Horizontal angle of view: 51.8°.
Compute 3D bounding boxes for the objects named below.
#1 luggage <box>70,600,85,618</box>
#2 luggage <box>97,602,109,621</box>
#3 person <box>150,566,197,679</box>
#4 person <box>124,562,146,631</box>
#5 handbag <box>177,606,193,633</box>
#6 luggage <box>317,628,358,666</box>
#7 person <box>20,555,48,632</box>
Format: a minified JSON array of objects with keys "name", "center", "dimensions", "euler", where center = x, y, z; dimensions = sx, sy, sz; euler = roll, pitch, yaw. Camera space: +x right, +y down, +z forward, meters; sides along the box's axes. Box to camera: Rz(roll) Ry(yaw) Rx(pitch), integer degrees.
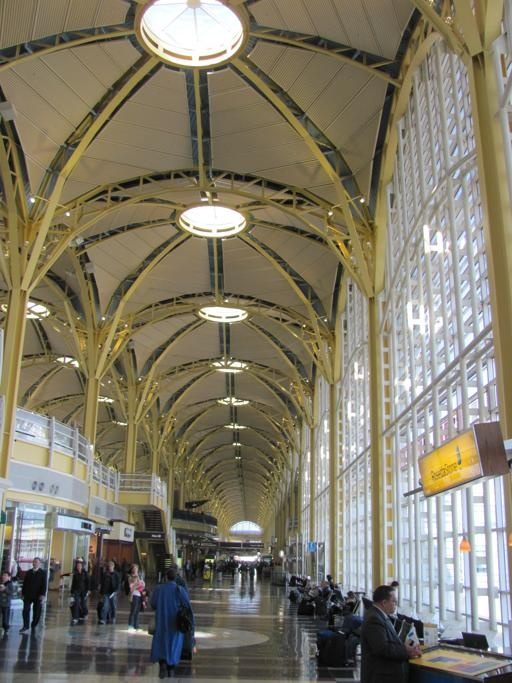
[{"name":"luggage","center":[-5.549,8.593,16.825],"dimensions":[0.396,0.631,0.996],"euler":[5,-22,-12]},{"name":"luggage","center":[-4.818,8.668,16.947],"dimensions":[0.291,0.727,0.795],"euler":[3,-21,-7]},{"name":"person","center":[-1.420,4.717,8.877],"dimensions":[0.668,1.641,0.565],"euler":[5,-21,-13]},{"name":"person","center":[-3.290,7.210,14.785],"dimensions":[0.409,1.602,0.465],"euler":[-15,-25,28]},{"name":"handbag","center":[-1.211,4.710,8.905],"dimensions":[0.260,0.549,0.414],"euler":[2,-11,-2]},{"name":"luggage","center":[1.553,6.354,10.838],"dimensions":[1.099,0.658,0.658],"euler":[14,-25,-30]},{"name":"person","center":[-5.945,6.953,14.418],"dimensions":[0.560,1.804,1.408],"euler":[7,-22,-19]}]
